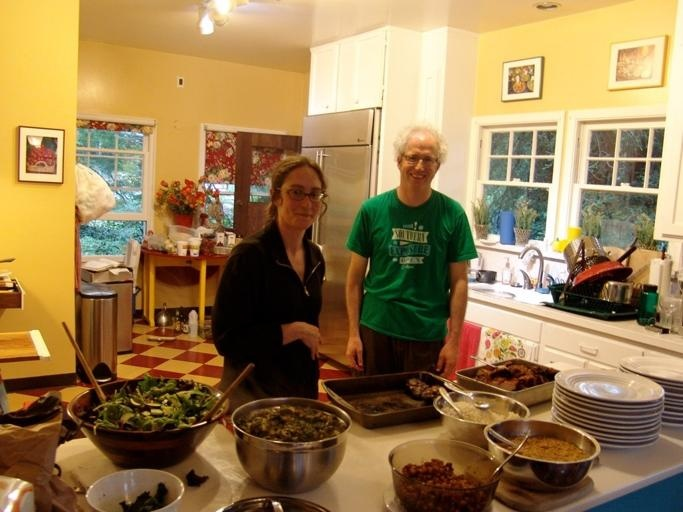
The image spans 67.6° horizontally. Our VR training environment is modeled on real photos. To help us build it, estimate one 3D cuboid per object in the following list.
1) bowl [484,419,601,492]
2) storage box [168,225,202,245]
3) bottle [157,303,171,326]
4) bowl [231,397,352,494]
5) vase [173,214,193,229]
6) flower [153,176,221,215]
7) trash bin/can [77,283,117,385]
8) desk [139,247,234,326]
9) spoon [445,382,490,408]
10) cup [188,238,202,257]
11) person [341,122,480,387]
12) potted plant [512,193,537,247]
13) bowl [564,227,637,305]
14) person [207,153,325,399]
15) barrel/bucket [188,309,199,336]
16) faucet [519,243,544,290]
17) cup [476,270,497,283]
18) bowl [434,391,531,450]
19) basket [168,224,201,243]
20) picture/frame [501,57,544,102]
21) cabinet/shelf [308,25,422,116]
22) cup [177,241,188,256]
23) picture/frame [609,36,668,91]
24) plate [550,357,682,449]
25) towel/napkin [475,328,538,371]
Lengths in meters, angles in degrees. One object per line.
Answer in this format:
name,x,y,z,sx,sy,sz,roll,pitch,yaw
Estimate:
bowl,0.584,0.574,1.455,0.289,0.106,0.291,-2,4,0
storage box,-1.947,-0.275,6.297,0.304,0.169,0.265,1,0,-9
bottle,-2.221,0.711,6.371,0.142,0.246,0.448,-1,9,-20
bowl,-0.146,0.539,1.465,0.326,0.169,0.336,5,4,0
vase,-2.018,-0.464,6.564,0.195,0.140,0.194,3,8,9
flower,-2.020,-0.778,6.577,0.539,0.364,0.549,10,12,40
trash bin/can,-2.295,0.694,4.796,0.351,0.769,0.524,-2,10,-26
desk,-1.887,0.400,6.575,1.419,1.066,1.363,1,-7,6
spoon,0.435,0.476,1.771,0.046,0.028,0.197,-2,11,-25
cup,-1.747,-0.118,6.103,0.134,0.216,0.109,-3,10,-29
person,0.344,-0.020,2.627,0.670,1.289,0.401,4,9,14
potted plant,1.597,-0.261,4.549,0.220,0.367,0.191,9,-3,-43
bowl,1.841,0.073,3.681,0.431,0.409,0.470,2,8,0
person,-0.263,0.128,2.000,0.471,1.043,0.407,0,9,-14
barrel/bucket,-1.776,0.778,6.136,0.126,0.285,0.306,0,9,-17
faucet,1.609,0.089,4.310,0.207,0.357,0.488,5,9,20
cup,1.273,0.167,4.478,0.118,0.073,0.116,1,1,0
bowl,0.432,0.505,1.679,0.191,0.068,0.189,2,9,0
basket,-1.940,-0.291,6.302,0.299,0.165,0.257,1,3,-17
picture/frame,1.597,-1.548,4.460,0.060,0.413,0.454,-2,4,-45
cabinet/shelf,0.145,-1.775,5.303,1.077,0.914,0.381,7,5,44
cup,-1.877,-0.096,6.023,0.122,0.163,0.093,-1,9,-18
picture/frame,2.200,-1.422,3.754,0.053,0.405,0.480,3,1,-37
plate,0.919,0.488,1.717,0.272,0.122,0.269,-4,7,-27
towel/napkin,1.208,0.693,3.816,0.165,0.246,0.477,-4,10,-35
